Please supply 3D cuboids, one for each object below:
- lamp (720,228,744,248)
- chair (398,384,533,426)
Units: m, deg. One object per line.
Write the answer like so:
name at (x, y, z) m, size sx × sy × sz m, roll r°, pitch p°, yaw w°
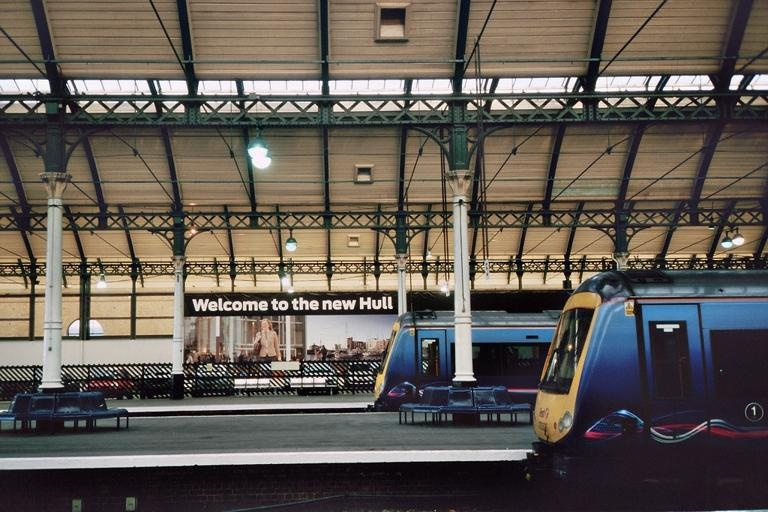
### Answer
lamp at (16.237, -0.881, 54.043) m, size 0.561 × 0.789 × 1.032 m, roll 11°, pitch -10°, yaw -22°
chair at (2.897, 5.263, 41.779) m, size 4.357 × 1.329 × 2.374 m, roll 0°, pitch -10°, yaw -4°
